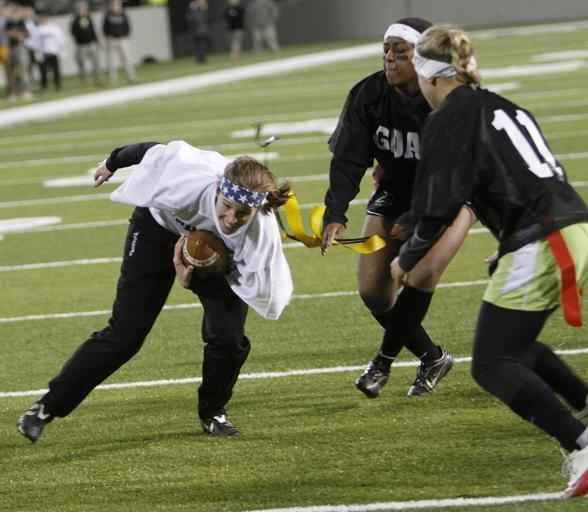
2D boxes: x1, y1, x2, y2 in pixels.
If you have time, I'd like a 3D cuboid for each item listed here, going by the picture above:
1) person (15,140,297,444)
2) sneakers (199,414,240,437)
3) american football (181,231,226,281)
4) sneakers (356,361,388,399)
[{"bbox_3d":[-0.670,0.206,5.355,1.387,1.639,0.648,-3,23,0],"label":"person"},{"bbox_3d":[-0.414,0.953,5.531,0.287,0.087,0.100,0,3,26],"label":"sneakers"},{"bbox_3d":[-0.459,-0.001,5.228,0.256,0.144,0.264,19,-14,12],"label":"american football"},{"bbox_3d":[0.478,0.710,5.623,0.119,0.130,0.320,40,14,9],"label":"sneakers"}]
